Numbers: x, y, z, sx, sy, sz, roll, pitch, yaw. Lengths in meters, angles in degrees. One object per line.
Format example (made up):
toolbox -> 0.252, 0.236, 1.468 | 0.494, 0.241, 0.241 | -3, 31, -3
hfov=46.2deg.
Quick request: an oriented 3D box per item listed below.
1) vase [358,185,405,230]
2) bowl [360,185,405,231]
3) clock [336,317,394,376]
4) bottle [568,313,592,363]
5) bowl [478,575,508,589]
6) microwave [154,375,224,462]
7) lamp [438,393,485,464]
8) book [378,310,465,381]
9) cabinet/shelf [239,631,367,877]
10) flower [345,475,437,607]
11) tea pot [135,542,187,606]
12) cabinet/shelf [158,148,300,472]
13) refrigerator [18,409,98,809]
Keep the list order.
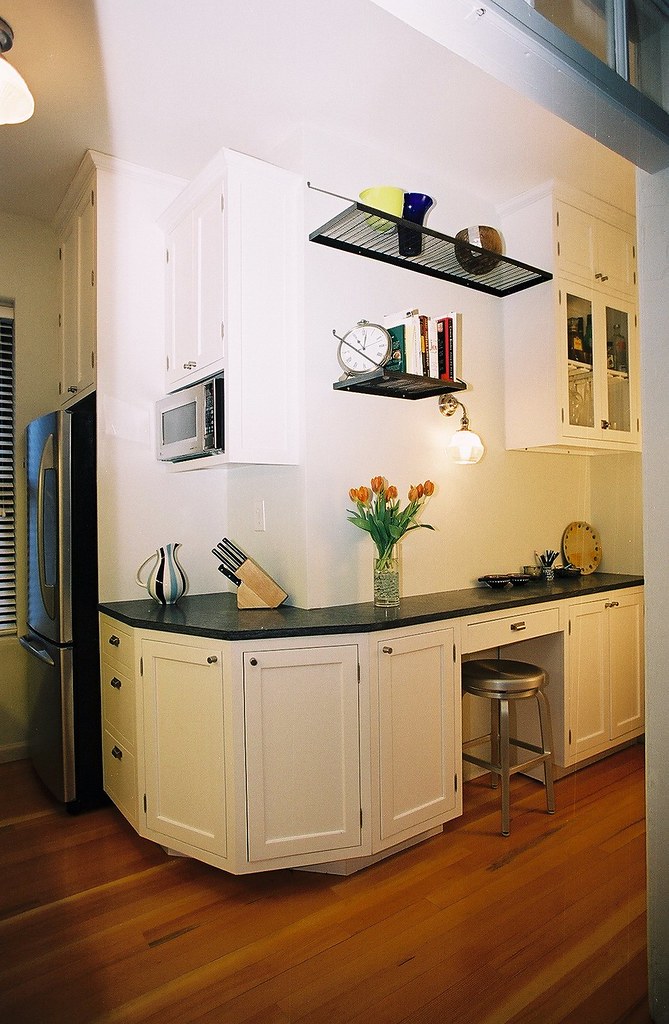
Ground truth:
vase -> 0.139, -0.893, 2.287 | 0.107, 0.096, 0.122 | 0, 2, 1
bowl -> 0.132, -0.882, 2.291 | 0.108, 0.097, 0.124 | 2, 4, 11
clock -> 0.088, -0.506, 2.441 | 0.204, 0.172, 0.087 | 1, 4, 38
bottle -> 0.891, -0.623, 2.852 | 0.037, 0.180, 0.154 | -2, 4, -15
bowl -> 0.600, 0.263, 2.945 | 0.130, 0.048, 0.125 | -2, 4, 0
microwave -> -0.461, -0.287, 2.495 | 0.205, 0.268, 0.379 | 0, 1, -33
lamp -> 0.507, -0.305, 2.933 | 0.144, 0.261, 0.254 | 1, 5, 40
book -> 0.261, -0.517, 2.550 | 0.199, 0.292, 0.268 | -5, 9, -32
cabinet/shelf -> -0.098, 0.603, 2.300 | 0.394, 0.678, 0.420 | 2, 18, 6
flower -> 0.175, 0.103, 2.485 | 0.232, 0.403, 0.262 | 7, -10, -24
tea pot -> -0.644, 0.223, 2.681 | 0.201, 0.241, 0.155 | -2, -3, 15
cabinet/shelf -> -0.389, -0.609, 2.541 | 0.538, 0.934, 0.314 | 1, 4, 38
refrigerator -> -0.920, 0.302, 2.643 | 0.263, 1.394, 0.344 | -2, 3, -16
